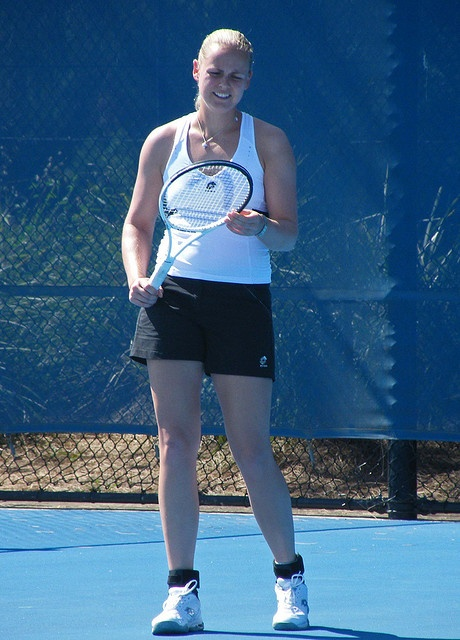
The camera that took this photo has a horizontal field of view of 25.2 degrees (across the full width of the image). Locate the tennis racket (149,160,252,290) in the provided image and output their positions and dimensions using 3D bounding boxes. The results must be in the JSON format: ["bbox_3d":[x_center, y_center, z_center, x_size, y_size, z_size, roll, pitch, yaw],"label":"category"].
[{"bbox_3d":[-0.101,-0.257,3.012,0.281,0.564,0.048,1,-30,15],"label":"tennis racket"}]

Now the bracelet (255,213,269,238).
[{"bbox_3d":[0.094,-0.282,3.031,0.026,0.071,0.066,-3,4,-16],"label":"bracelet"}]

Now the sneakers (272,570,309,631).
[{"bbox_3d":[0.180,0.846,3.122,0.110,0.156,0.167,0,1,3],"label":"sneakers"}]

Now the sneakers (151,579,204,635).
[{"bbox_3d":[-0.149,0.843,2.973,0.096,0.116,0.206,-4,-16,17],"label":"sneakers"}]
